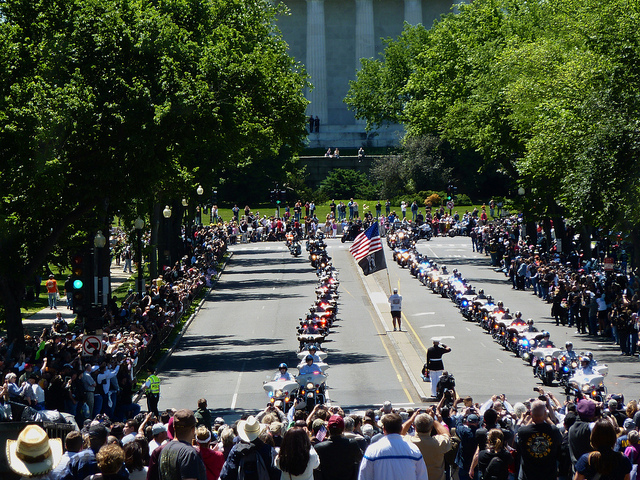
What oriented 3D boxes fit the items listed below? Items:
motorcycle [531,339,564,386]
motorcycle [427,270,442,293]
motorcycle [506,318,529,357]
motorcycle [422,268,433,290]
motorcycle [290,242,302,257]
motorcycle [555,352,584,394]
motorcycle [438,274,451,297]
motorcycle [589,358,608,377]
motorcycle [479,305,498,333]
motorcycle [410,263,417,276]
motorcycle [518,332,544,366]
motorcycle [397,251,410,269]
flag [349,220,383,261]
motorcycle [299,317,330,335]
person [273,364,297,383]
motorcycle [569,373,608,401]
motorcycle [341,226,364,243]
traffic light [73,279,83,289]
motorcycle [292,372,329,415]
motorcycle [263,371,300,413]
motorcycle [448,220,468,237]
[{"bbox_3d":[8.467,4.488,49.476,1.092,1.559,0.977,-5,-1,12],"label":"motorcycle"},{"bbox_3d":[6.053,2.076,69.776,0.617,1.060,0.696,5,-9,-4],"label":"motorcycle"},{"bbox_3d":[8.212,3.852,54.886,0.830,1.223,2.120,18,5,-4],"label":"motorcycle"},{"bbox_3d":[5.816,2.109,71.943,0.691,0.302,0.919,1,29,-1],"label":"motorcycle"},{"bbox_3d":[-1.571,0.535,88.934,1.019,1.093,1.908,-1,0,0],"label":"motorcycle"},{"bbox_3d":[9.179,4.575,48.009,0.918,1.143,2.029,-7,4,7],"label":"motorcycle"},{"bbox_3d":[6.510,2.210,68.622,0.621,0.692,1.087,0,-2,0],"label":"motorcycle"},{"bbox_3d":[9.895,4.497,47.247,0.976,0.246,0.966,-1,23,-8],"label":"motorcycle"},{"bbox_3d":[7.461,3.363,59.055,0.725,0.690,1.135,0,-2,-4],"label":"motorcycle"},{"bbox_3d":[5.370,1.616,76.023,0.395,0.551,0.548,-2,8,-2],"label":"motorcycle"},{"bbox_3d":[8.293,4.015,52.014,0.771,0.830,1.311,3,-3,1],"label":"motorcycle"},{"bbox_3d":[4.919,1.058,79.425,0.257,0.816,0.707,-4,3,-41],"label":"motorcycle"},{"bbox_3d":[1.988,0.038,60.186,1.857,1.707,0.188,-5,4,38],"label":"flag"},{"bbox_3d":[0.017,3.741,58.472,0.699,0.665,1.136,-4,-10,0],"label":"motorcycle"},{"bbox_3d":[-1.159,4.482,45.051,0.483,0.459,0.845,-3,-5,3],"label":"person"},{"bbox_3d":[9.130,4.944,45.045,1.096,0.730,1.826,-3,3,10],"label":"motorcycle"},{"bbox_3d":[2.340,-0.534,94.955,1.407,0.776,0.848,0,1,-36],"label":"motorcycle"},{"bbox_3d":[-8.552,1.506,47.287,0.312,0.305,0.079,2,10,-12],"label":"traffic light"},{"bbox_3d":[-0.315,4.966,45.791,1.241,1.479,2.458,-3,12,-2],"label":"motorcycle"},{"bbox_3d":[-1.263,5.164,44.882,1.191,1.269,2.368,-4,9,3],"label":"motorcycle"},{"bbox_3d":[10.363,-0.806,98.760,0.821,0.904,1.435,11,4,35],"label":"motorcycle"}]
